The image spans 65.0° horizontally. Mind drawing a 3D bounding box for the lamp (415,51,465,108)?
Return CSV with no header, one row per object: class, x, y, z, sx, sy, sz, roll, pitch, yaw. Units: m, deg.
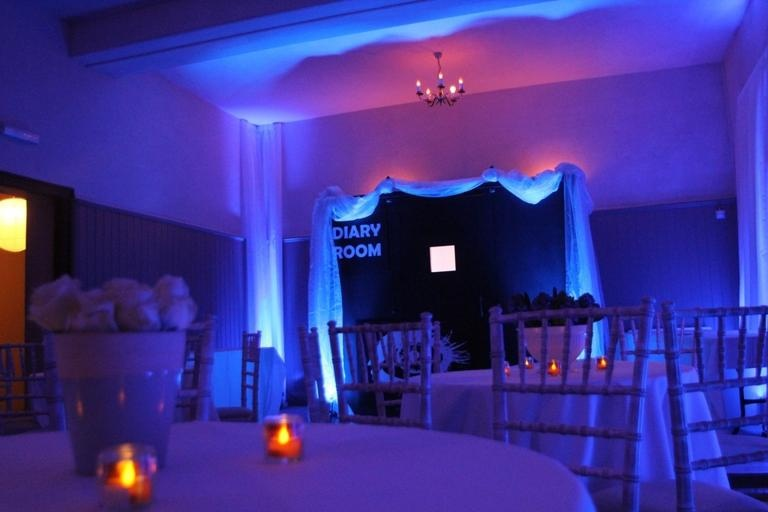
lamp,0.691,-2.210,7.501,0.556,0.620,0.511,9,29,25
